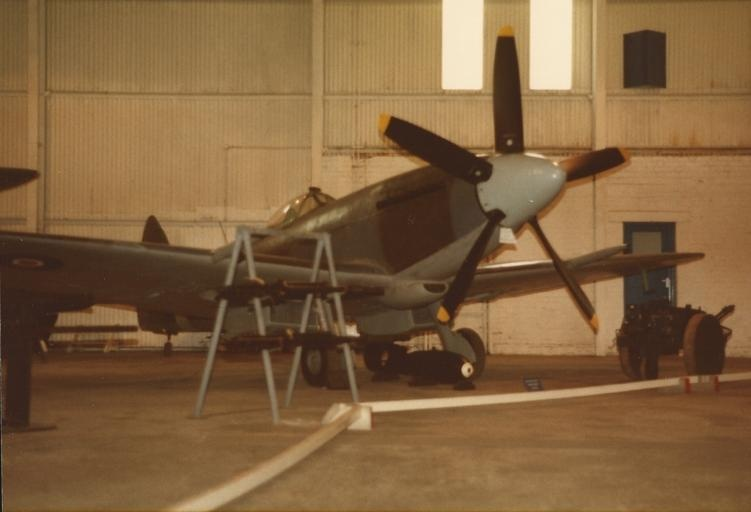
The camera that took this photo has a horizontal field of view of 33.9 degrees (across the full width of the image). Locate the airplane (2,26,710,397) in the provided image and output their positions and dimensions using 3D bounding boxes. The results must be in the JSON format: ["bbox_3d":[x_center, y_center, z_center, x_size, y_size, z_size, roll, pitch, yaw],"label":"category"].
[{"bbox_3d":[-0.595,-0.992,23.048,12.281,5.966,9.142,0,5,-15],"label":"airplane"}]
